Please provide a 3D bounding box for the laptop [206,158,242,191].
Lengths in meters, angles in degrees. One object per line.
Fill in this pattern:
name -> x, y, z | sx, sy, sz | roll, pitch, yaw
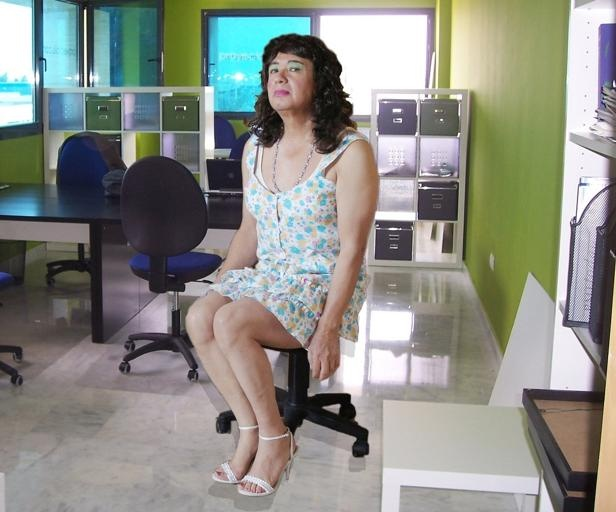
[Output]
laptop -> -0.609, -0.594, 3.786 | 0.280, 0.230, 0.227 | 2, 17, 1

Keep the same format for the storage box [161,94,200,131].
storage box -> -1.435, -1.571, 6.101 | 0.467, 0.518, 0.369 | 1, 6, 2

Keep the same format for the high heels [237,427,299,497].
high heels -> -0.107, 0.742, 1.956 | 0.121, 0.185, 0.368 | 2, -2, 21

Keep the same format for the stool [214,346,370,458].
stool -> -0.074, 0.494, 2.364 | 0.544, 0.644, 0.555 | -1, 28, -7

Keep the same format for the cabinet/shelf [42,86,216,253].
cabinet/shelf -> -1.506, -0.781, 4.265 | 1.564, 1.708, 0.493 | 2, 10, 8

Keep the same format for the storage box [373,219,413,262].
storage box -> 0.860, -0.143, 5.265 | 0.351, 0.413, 0.388 | 1, 8, 7

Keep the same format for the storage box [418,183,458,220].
storage box -> 1.291, -0.528, 5.187 | 0.344, 0.378, 0.366 | 3, 15, 11

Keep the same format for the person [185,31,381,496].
person -> -0.071, 0.012, 1.887 | 0.560, 1.594, 0.591 | 7, 13, 26
